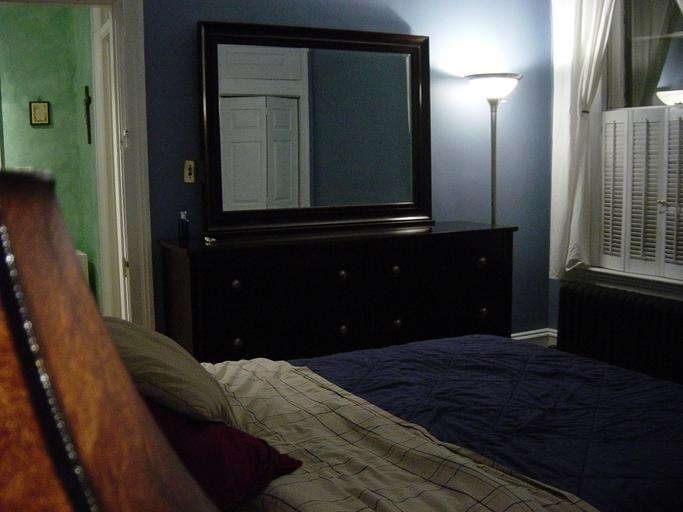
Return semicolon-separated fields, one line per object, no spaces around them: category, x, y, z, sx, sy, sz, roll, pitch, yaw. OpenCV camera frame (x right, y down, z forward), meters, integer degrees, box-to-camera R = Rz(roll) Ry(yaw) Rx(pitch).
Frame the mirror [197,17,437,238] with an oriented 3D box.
mirror;-0.142;-0.731;3.263;1.328;1.192;0.105;-1;-8;-6

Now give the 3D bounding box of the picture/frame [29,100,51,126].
picture/frame;-2.390;-1.130;4.491;0.183;0.261;0.034;-2;2;-30

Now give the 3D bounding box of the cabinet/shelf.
cabinet/shelf;0.306;0.196;3.218;1.253;0.663;0.418;-4;14;-3
